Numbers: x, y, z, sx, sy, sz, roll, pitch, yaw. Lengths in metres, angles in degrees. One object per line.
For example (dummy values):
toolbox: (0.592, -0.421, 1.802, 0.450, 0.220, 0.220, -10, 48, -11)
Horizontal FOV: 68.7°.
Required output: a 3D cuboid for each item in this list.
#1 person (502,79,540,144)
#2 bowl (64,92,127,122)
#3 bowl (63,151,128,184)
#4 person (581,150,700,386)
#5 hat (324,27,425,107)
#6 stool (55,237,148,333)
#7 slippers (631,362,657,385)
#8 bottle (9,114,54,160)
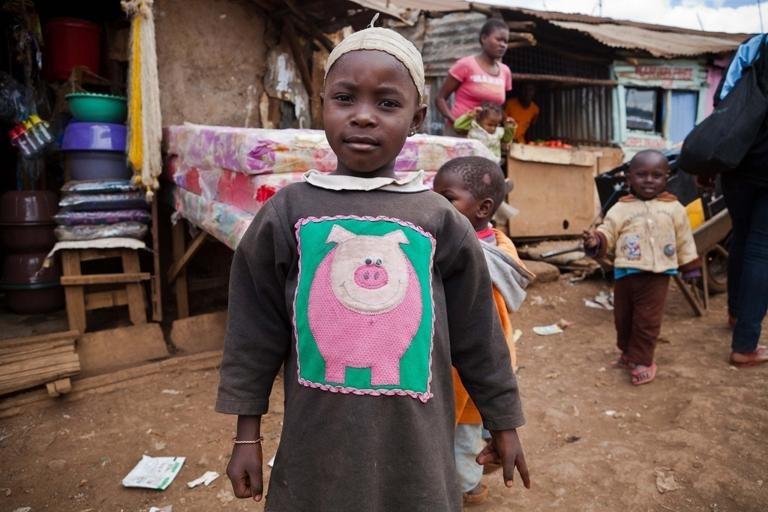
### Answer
person: (2.286, -2.175, 9.306, 0.598, 1.259, 0.429, -5, 43, -1)
bowl: (-2.866, -1.426, 5.605, 0.413, 0.155, 0.404, 0, 5, 0)
bowl: (-2.890, -0.902, 5.648, 0.451, 0.268, 0.435, 1, 5, 0)
person: (2.367, 0.063, 5.175, 0.717, 2.052, 0.838, 8, 13, 36)
hat: (0.016, -1.028, 2.999, 0.440, 0.334, 0.455, -1, -14, 37)
stool: (-2.884, 0.221, 5.892, 1.012, 0.965, 1.039, -5, 5, -21)
slippers: (2.309, 1.056, 4.982, 0.124, 0.115, 0.275, -4, -2, 38)
bottle: (-3.626, -1.226, 5.770, 0.358, 0.422, 0.296, -7, 13, -34)
